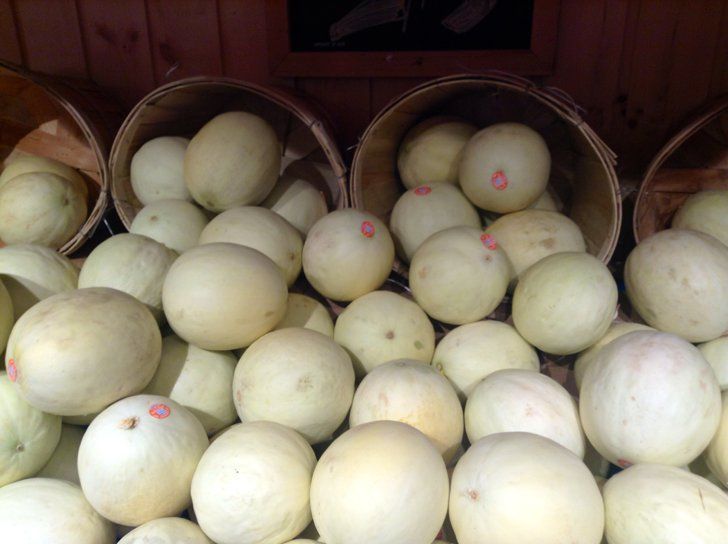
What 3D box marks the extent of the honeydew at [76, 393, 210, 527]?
[{"bbox_3d":[-0.546,0.459,1.714,0.283,0.332,0.310,-25,-23,-2],"label":"honeydew"}]
